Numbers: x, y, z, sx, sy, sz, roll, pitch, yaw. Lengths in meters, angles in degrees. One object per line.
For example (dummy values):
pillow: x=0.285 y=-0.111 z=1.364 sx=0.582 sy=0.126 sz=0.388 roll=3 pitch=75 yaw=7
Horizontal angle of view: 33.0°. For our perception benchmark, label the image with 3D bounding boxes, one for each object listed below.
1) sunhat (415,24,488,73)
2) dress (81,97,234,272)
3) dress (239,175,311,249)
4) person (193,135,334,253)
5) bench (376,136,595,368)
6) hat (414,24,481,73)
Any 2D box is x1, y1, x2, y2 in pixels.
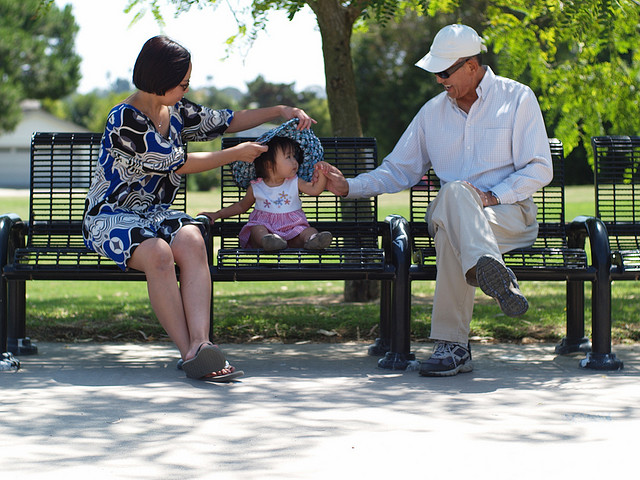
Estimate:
sunhat: x=0.896 y=-1.364 z=7.654 sx=0.598 sy=0.286 sz=0.372 roll=-14 pitch=13 yaw=-21
dress: x=-1.144 y=-0.404 z=7.418 sx=0.966 sy=1.129 sz=0.793 roll=-6 pitch=11 yaw=-28
dress: x=-0.344 y=-0.184 z=7.848 sx=0.573 sy=0.555 sz=0.377 roll=-2 pitch=2 yaw=-10
person: x=-0.325 y=-0.330 z=7.710 sx=0.850 sy=0.834 sz=1.187 roll=-8 pitch=12 yaw=-24
bench: x=1.279 y=0.038 z=7.766 sx=1.678 sy=1.667 sz=1.276 roll=1 pitch=-1 yaw=-1
hat: x=0.886 y=-1.387 z=7.620 sx=0.557 sy=0.268 sz=0.349 roll=-18 pitch=24 yaw=-19
